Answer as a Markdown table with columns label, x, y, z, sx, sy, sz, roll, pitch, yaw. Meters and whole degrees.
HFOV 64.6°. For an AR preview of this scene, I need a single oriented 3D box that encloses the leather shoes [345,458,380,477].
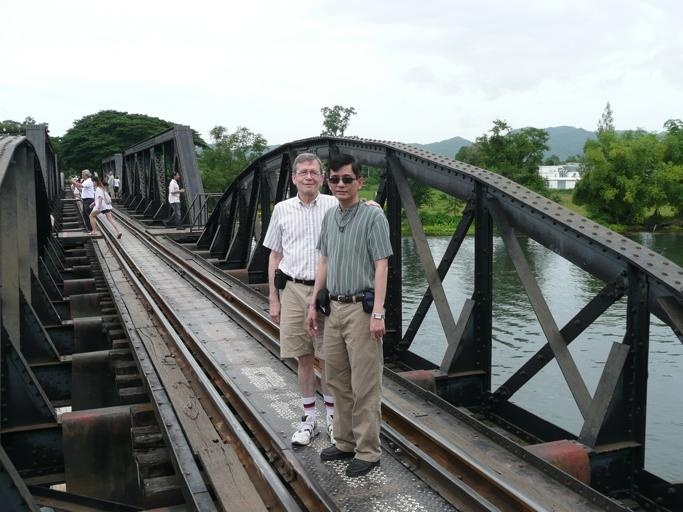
| label | x | y | z | sx | sy | sz | roll | pitch | yaw |
| --- | --- | --- | --- | --- | --- | --- | --- | --- | --- |
| leather shoes | 0.143 | 1.473 | 3.804 | 0.091 | 0.096 | 0.231 | -4 | -9 | 39 |

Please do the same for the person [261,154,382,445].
| label | x | y | z | sx | sy | sz | roll | pitch | yaw |
| --- | --- | --- | --- | --- | --- | --- | --- | --- | --- |
| person | -0.122 | 0.424 | 4.343 | 0.956 | 2.515 | 0.666 | 6 | 16 | 6 |

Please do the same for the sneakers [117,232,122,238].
| label | x | y | z | sx | sy | sz | roll | pitch | yaw |
| --- | --- | --- | --- | --- | --- | --- | --- | --- | --- |
| sneakers | -7.506 | -0.705 | 18.240 | 0.145 | 0.175 | 0.413 | -1 | 7 | -22 |

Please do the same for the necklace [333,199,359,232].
| label | x | y | z | sx | sy | sz | roll | pitch | yaw |
| --- | --- | --- | --- | --- | --- | --- | --- | --- | --- |
| necklace | 0.037 | -0.287 | 3.869 | 0.119 | 0.208 | 0.212 | 16 | -9 | -41 |

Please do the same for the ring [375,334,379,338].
| label | x | y | z | sx | sy | sz | roll | pitch | yaw |
| --- | --- | --- | --- | --- | --- | --- | --- | --- | --- |
| ring | 0.238 | 0.548 | 3.684 | 0.028 | 0.008 | 0.028 | -4 | -31 | -3 |

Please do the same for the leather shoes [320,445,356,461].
| label | x | y | z | sx | sy | sz | roll | pitch | yaw |
| --- | --- | --- | --- | --- | --- | --- | --- | --- | --- |
| leather shoes | -0.038 | 1.458 | 4.034 | 0.265 | 0.132 | 0.101 | 6 | 2 | -5 |

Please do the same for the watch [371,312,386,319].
| label | x | y | z | sx | sy | sz | roll | pitch | yaw |
| --- | --- | --- | --- | --- | --- | --- | --- | --- | --- |
| watch | 0.241 | 0.402 | 3.652 | 0.073 | 0.056 | 0.035 | 1 | 10 | 1 |

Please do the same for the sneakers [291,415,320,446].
| label | x | y | z | sx | sy | sz | roll | pitch | yaw |
| --- | --- | --- | --- | --- | --- | --- | --- | --- | --- |
| sneakers | -0.286 | 1.381 | 4.310 | 0.114 | 0.147 | 0.309 | -2 | 0 | 15 |

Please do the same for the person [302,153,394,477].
| label | x | y | z | sx | sy | sz | roll | pitch | yaw |
| --- | --- | --- | --- | --- | --- | --- | --- | --- | --- |
| person | 0.058 | 0.388 | 3.895 | 0.469 | 2.212 | 0.682 | -5 | 12 | -29 |
